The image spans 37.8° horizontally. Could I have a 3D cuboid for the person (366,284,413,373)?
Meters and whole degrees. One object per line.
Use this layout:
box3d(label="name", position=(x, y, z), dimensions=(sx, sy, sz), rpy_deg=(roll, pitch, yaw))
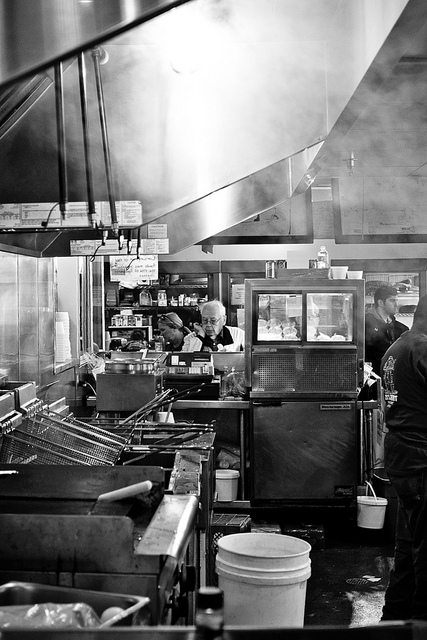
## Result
box3d(label="person", position=(2.069, 0.126, 7.453), dimensions=(0.672, 1.214, 0.575), rpy_deg=(-3, 25, 8))

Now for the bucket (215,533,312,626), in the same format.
box3d(label="bucket", position=(0.207, 1.095, 2.653), dimensions=(0.393, 0.328, 0.437), rpy_deg=(0, 2, 7))

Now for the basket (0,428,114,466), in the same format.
box3d(label="basket", position=(-0.617, 0.480, 2.265), dimensions=(0.192, 0.062, 0.221), rpy_deg=(18, 5, 1))

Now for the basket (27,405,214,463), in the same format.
box3d(label="basket", position=(-0.414, 0.494, 2.693), dimensions=(0.463, 0.198, 0.281), rpy_deg=(6, -5, 1))

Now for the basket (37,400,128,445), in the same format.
box3d(label="basket", position=(-0.603, 0.417, 2.585), dimensions=(0.501, 0.078, 0.068), rpy_deg=(20, -14, -2))

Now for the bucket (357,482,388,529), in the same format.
box3d(label="bucket", position=(1.091, 1.276, 4.322), dimensions=(0.207, 0.304, 0.207), rpy_deg=(6, -7, 1))

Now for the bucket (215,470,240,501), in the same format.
box3d(label="bucket", position=(0.087, 1.140, 4.391), dimensions=(0.183, 0.186, 0.168), rpy_deg=(-1, -2, 0))
